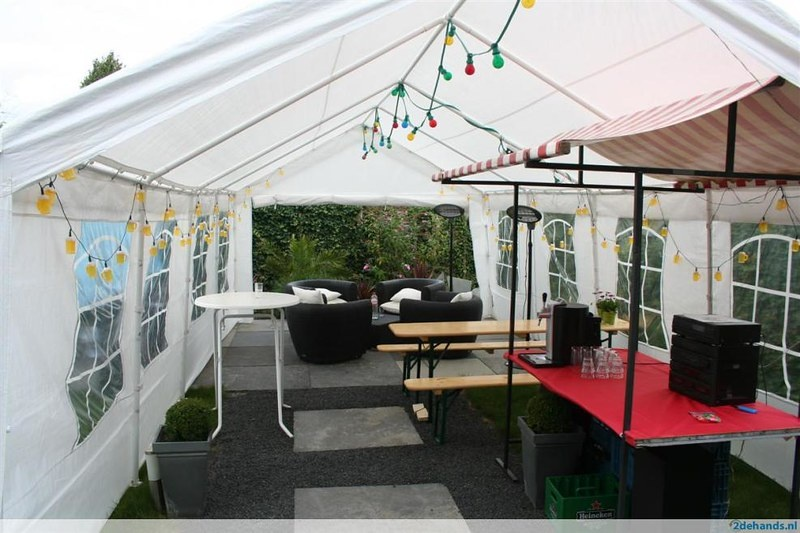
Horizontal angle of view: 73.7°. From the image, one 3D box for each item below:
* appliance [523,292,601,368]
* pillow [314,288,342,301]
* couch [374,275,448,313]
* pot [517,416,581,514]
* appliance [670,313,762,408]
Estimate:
[{"bbox_3d":[1.439,0.587,4.752,0.635,0.493,0.532,1,1,0],"label":"appliance"},{"bbox_3d":[-1.150,0.483,9.077,0.287,0.086,0.297,8,6,-26],"label":"pillow"},{"bbox_3d":[0.215,0.573,9.838,1.270,0.698,1.213,3,7,9],"label":"couch"},{"bbox_3d":[1.357,1.721,4.729,0.679,0.743,0.578,2,-4,-18],"label":"pot"},{"bbox_3d":[2.303,0.679,3.934,0.492,0.543,0.497,1,4,-3],"label":"appliance"}]
